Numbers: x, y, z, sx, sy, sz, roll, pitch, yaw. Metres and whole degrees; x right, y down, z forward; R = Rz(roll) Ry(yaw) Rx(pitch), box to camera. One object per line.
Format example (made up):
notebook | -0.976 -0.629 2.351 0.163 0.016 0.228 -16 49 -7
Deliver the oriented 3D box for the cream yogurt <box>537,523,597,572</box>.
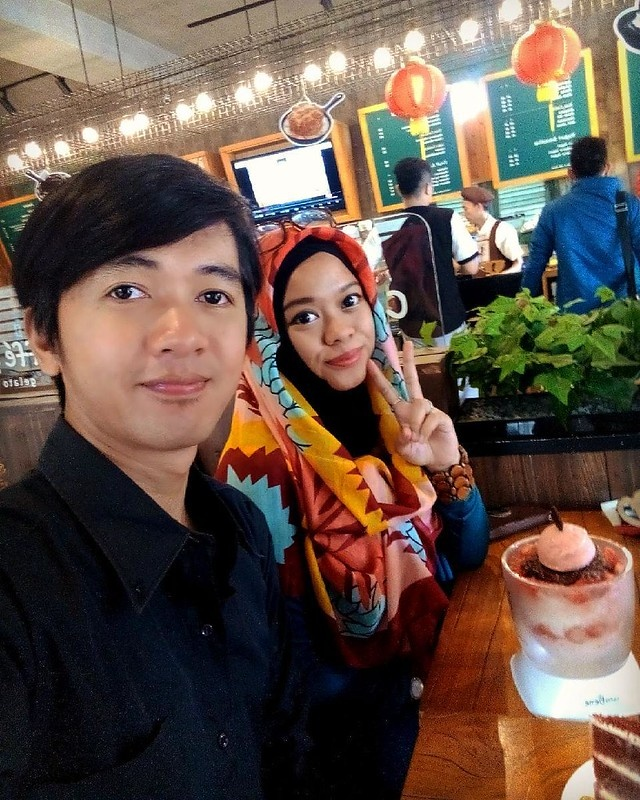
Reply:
cream yogurt | 0.324 0.180 0.743 0.060 0.033 0.058 -4 15 8

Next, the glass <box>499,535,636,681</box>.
glass | 0.301 0.259 0.760 0.164 0.136 0.171 -8 0 4

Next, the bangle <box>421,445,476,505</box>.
bangle | 0.316 0.193 1.412 0.090 0.084 0.119 -7 6 5

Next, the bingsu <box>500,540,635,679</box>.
bingsu | 0.303 0.262 0.759 0.163 0.135 0.170 -8 -2 3

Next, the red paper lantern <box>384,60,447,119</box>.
red paper lantern | 0.640 -2.032 3.821 0.395 0.364 0.358 -17 29 -20
